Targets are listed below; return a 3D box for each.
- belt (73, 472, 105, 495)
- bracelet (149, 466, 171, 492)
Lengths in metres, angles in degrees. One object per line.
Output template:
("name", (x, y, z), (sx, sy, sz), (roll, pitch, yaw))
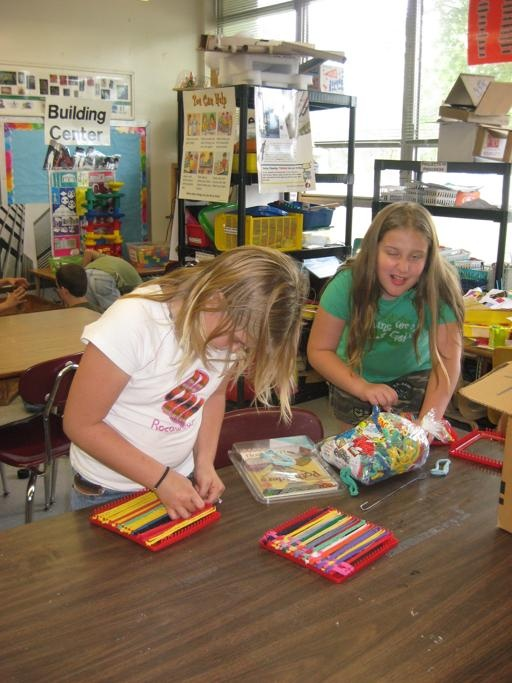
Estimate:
("belt", (-0.355, 0.310, 1.222), (0.058, 0.018, 0.041), (25, 4, 3))
("bracelet", (-0.174, 0.252, 1.045), (0.012, 0.038, 0.034), (39, -12, -10))
